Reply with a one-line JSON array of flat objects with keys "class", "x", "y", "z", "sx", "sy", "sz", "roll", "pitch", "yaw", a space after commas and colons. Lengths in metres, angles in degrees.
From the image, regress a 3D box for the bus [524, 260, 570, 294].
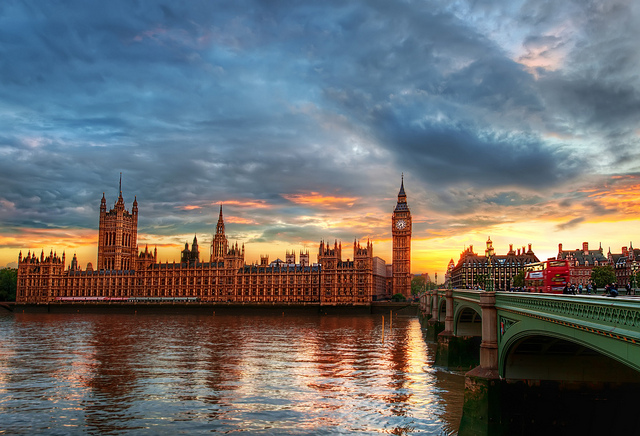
[{"class": "bus", "x": 27.264, "y": 7.190, "z": 67.810, "sx": 2.752, "sy": 3.770, "sz": 8.494, "roll": 1, "pitch": -8, "yaw": 2}]
